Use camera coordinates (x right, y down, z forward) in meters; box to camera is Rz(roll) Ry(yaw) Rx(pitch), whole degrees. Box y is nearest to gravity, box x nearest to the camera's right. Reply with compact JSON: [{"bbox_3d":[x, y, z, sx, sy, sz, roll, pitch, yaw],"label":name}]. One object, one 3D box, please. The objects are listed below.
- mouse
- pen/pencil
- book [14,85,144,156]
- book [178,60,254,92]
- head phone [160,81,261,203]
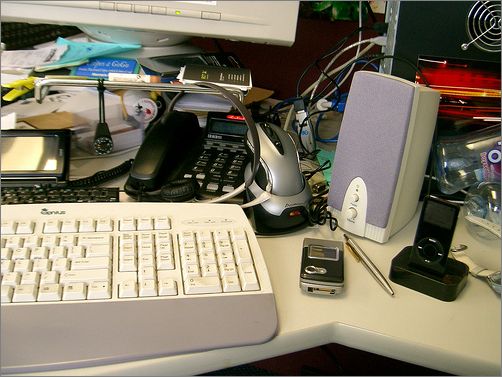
[{"bbox_3d":[0.031,-0.043,0.685,0.083,0.046,0.121,2,62,-39],"label":"mouse"},{"bbox_3d":[0.162,0.104,0.605,0.015,0.020,0.149,35,12,-44],"label":"pen/pencil"},{"bbox_3d":[-0.342,-0.122,0.822,0.187,0.041,0.177,-3,36,-23],"label":"book"},{"bbox_3d":[-0.063,-0.217,0.752,0.125,0.024,0.070,7,34,-7],"label":"book"},{"bbox_3d":[-0.054,-0.070,0.604,0.163,0.180,0.034,6,12,38],"label":"head phone"}]
